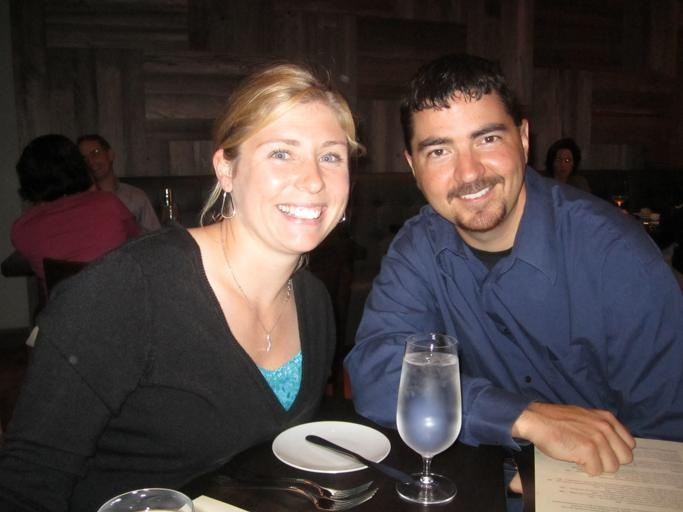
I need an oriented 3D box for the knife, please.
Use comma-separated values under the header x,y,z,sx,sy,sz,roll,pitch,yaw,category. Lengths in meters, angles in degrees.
x,y,z,sx,sy,sz,roll,pitch,yaw,category
0.044,0.474,1.337,0.337,0.036,0.039,18,28,41,knife
